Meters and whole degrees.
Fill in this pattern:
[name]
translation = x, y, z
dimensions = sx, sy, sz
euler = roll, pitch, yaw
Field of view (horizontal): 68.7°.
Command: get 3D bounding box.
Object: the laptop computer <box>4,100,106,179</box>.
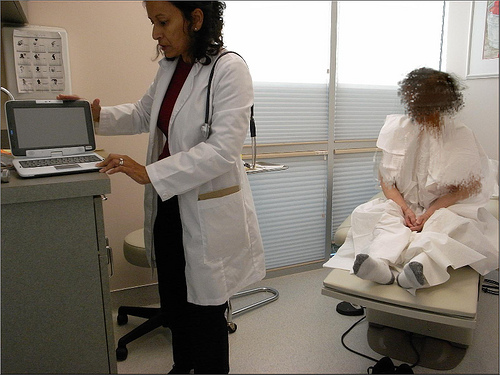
[laptop computer]
translation = -0.816, -0.185, 1.575
dimensions = 0.445, 0.328, 0.397
euler = -9, 34, -34

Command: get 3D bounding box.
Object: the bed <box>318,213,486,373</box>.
[bed]
translation = 0.920, 0.573, 2.046
dimensions = 0.573, 0.491, 0.764
euler = 8, 20, 27

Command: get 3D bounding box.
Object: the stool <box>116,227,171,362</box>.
[stool]
translation = -0.633, 0.609, 2.193
dimensions = 0.360, 0.719, 0.363
euler = -5, 17, -27

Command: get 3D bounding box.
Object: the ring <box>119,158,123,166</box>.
[ring]
translation = -0.512, -0.104, 1.454
dimensions = 0.005, 0.019, 0.018
euler = 19, 13, -16

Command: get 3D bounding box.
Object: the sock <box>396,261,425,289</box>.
[sock]
translation = 0.745, 0.418, 1.729
dimensions = 0.070, 0.087, 0.181
euler = 29, -20, 19

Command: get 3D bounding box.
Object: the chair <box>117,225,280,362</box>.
[chair]
translation = -0.428, 0.702, 2.443
dimensions = 1.072, 0.699, 0.638
euler = -3, -26, -30
